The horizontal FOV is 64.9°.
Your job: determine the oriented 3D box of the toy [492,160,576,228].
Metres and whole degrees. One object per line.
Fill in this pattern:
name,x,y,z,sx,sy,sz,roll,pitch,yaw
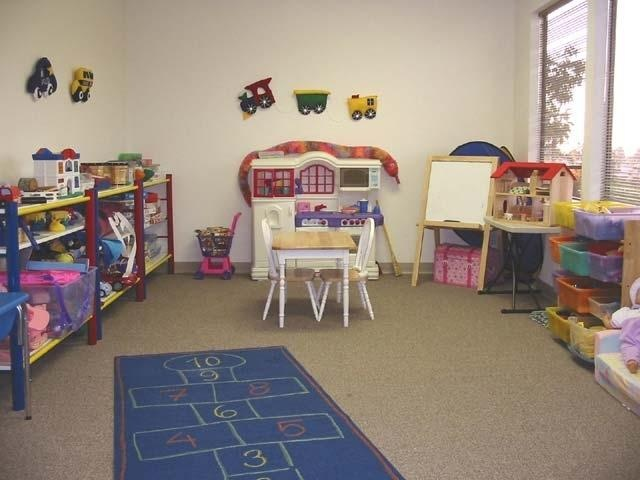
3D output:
toy,2.178,-0.519,5.255,0.609,0.831,1.002,-3,6,-32

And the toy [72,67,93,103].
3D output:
toy,-2.466,-1.617,5.282,0.152,0.346,0.472,-2,11,-11

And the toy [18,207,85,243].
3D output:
toy,-2.061,-0.133,3.890,0.215,0.134,0.538,13,20,10

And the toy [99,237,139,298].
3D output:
toy,-1.894,0.245,4.725,0.389,0.518,0.706,1,5,-4

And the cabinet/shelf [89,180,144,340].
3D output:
cabinet/shelf,-1.875,0.167,4.638,0.417,1.323,1.301,0,5,-6

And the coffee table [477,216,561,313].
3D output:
coffee table,1.952,0.010,5.263,0.776,0.914,1.304,2,6,7

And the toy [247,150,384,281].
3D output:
toy,-0.079,-0.328,5.868,1.470,1.562,0.558,-1,3,-6

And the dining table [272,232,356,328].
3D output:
dining table,-0.060,0.213,4.748,0.743,0.748,0.967,-1,7,-3

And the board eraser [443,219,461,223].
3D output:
board eraser,1.554,-0.234,5.962,0.173,0.033,0.070,4,12,16
